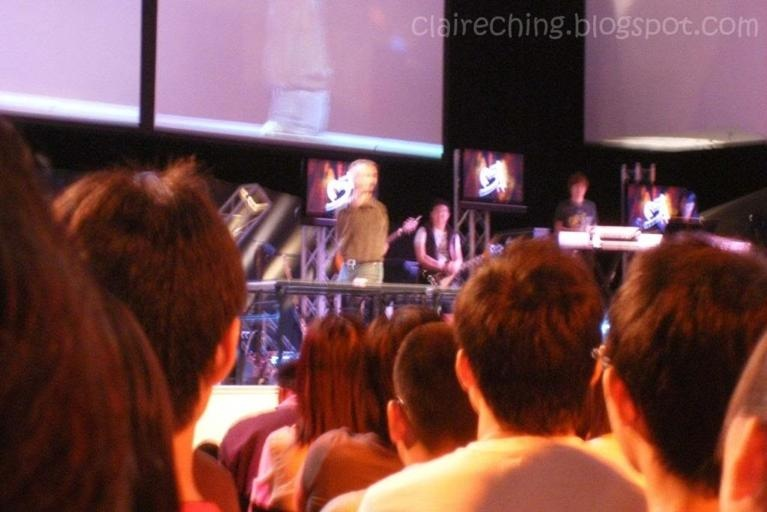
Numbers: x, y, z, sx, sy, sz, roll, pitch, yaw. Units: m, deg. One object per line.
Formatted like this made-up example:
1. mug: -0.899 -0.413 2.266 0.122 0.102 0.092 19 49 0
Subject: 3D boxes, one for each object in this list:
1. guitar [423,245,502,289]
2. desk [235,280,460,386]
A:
1. guitar: 0.446 0.077 4.694 0.356 0.120 0.051 -33 12 -33
2. desk: -0.522 0.704 5.725 0.675 0.882 1.325 23 -10 -16
